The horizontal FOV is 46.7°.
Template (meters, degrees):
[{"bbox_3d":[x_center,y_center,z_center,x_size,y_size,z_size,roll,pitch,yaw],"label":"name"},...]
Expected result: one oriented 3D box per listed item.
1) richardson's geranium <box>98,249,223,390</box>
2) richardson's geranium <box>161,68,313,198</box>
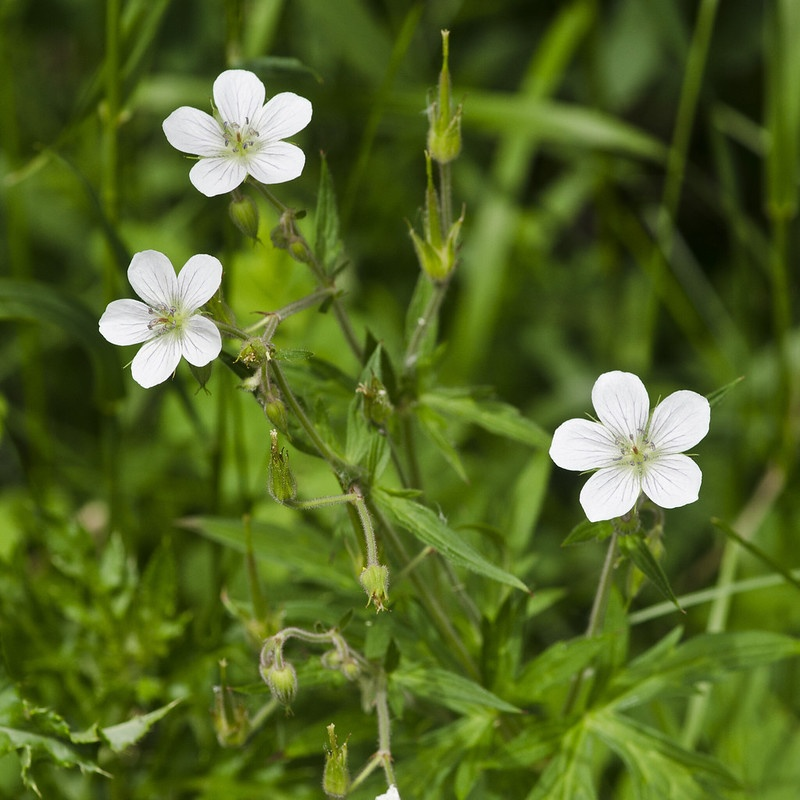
[{"bbox_3d":[-0.412,-0.150,1.618,0.250,0.218,0.106,-2,12,31],"label":"richardson's geranium"},{"bbox_3d":[-0.294,-0.500,1.697,0.265,0.220,0.240,-8,12,5],"label":"richardson's geranium"}]
